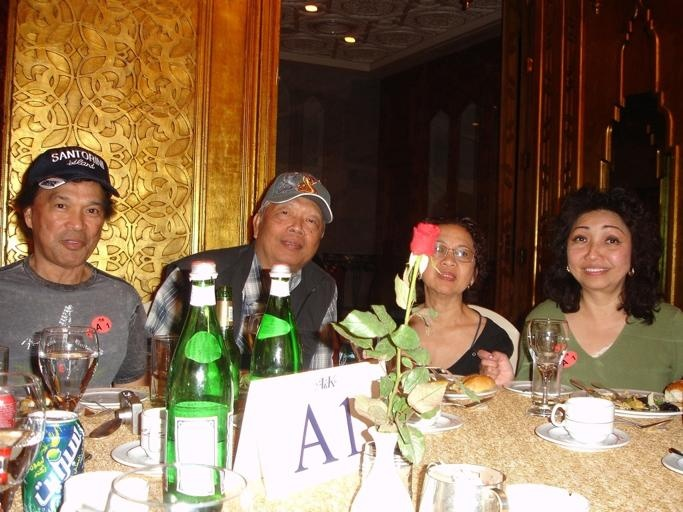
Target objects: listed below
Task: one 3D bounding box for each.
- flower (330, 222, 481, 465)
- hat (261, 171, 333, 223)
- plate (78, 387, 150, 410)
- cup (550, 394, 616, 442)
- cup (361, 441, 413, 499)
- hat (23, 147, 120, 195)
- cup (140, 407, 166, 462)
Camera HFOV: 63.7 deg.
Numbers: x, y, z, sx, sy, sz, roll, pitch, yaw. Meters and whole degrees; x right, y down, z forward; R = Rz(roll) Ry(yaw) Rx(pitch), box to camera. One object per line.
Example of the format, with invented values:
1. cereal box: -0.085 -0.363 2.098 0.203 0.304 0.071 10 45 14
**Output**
1. flower: 0.118 0.184 1.186 0.269 0.514 0.478 1 3 -1
2. hat: -0.223 -0.301 2.674 0.336 0.240 0.540 8 0 -10
3. plate: -0.663 0.412 1.589 0.105 0.014 0.107 6 4 43
4. cup: 0.642 0.423 1.469 0.143 0.090 0.106 -4 2 1
5. cup: 0.082 0.371 0.988 0.096 0.107 0.099 1 -11 0
6. hat: -1.163 -0.381 2.351 0.345 0.202 0.220 1 3 -14
7. cup: -0.416 0.391 1.210 0.050 0.108 0.105 1 3 -19
